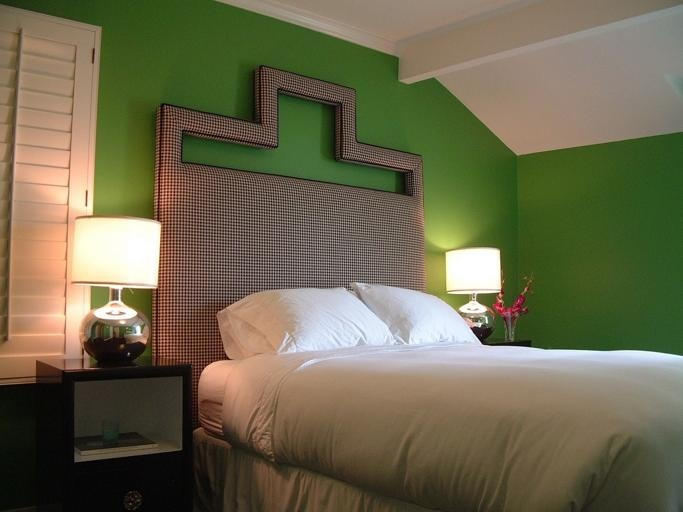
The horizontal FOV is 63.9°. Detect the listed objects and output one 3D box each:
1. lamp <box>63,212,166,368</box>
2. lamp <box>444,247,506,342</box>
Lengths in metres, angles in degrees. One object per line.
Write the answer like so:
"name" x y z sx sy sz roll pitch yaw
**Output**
"lamp" -1.217 0.176 2.904 0.589 0.994 0.571 4 -6 -29
"lamp" 1.038 0.333 4.313 0.425 0.764 0.451 -2 -3 37
